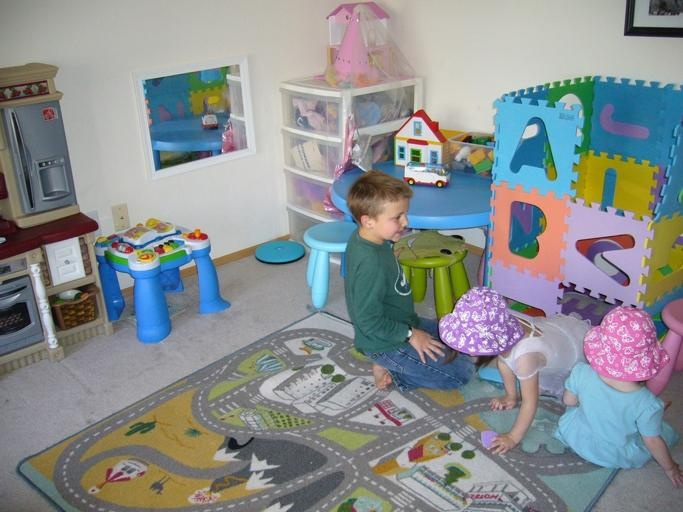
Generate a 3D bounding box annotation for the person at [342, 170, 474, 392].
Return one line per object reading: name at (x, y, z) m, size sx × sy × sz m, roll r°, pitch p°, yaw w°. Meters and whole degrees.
person at (0.316, 0.131, 2.396) m, size 0.652 × 1.066 × 0.621 m, roll -15°, pitch 32°, yaw -10°

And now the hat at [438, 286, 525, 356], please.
hat at (0.523, 0.251, 1.938) m, size 0.285 × 0.141 × 0.278 m, roll -30°, pitch 37°, yaw -34°

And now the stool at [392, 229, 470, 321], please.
stool at (0.462, 0.104, 2.657) m, size 0.332 × 0.348 × 0.345 m, roll -31°, pitch 38°, yaw -30°

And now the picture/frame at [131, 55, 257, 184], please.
picture/frame at (-0.974, -0.901, 3.249) m, size 0.806 × 0.642 × 0.057 m, roll -23°, pitch 30°, yaw -31°

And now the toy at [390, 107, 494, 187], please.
toy at (0.587, -0.628, 3.061) m, size 0.670 × 0.413 × 0.489 m, roll 15°, pitch 33°, yaw 25°

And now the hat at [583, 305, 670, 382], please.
hat at (1.004, 0.336, 1.804) m, size 0.262 × 0.145 × 0.270 m, roll 25°, pitch 57°, yaw 28°

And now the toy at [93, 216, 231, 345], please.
toy at (-1.023, 0.060, 3.006) m, size 0.682 × 0.589 × 0.705 m, roll 29°, pitch 42°, yaw 35°
